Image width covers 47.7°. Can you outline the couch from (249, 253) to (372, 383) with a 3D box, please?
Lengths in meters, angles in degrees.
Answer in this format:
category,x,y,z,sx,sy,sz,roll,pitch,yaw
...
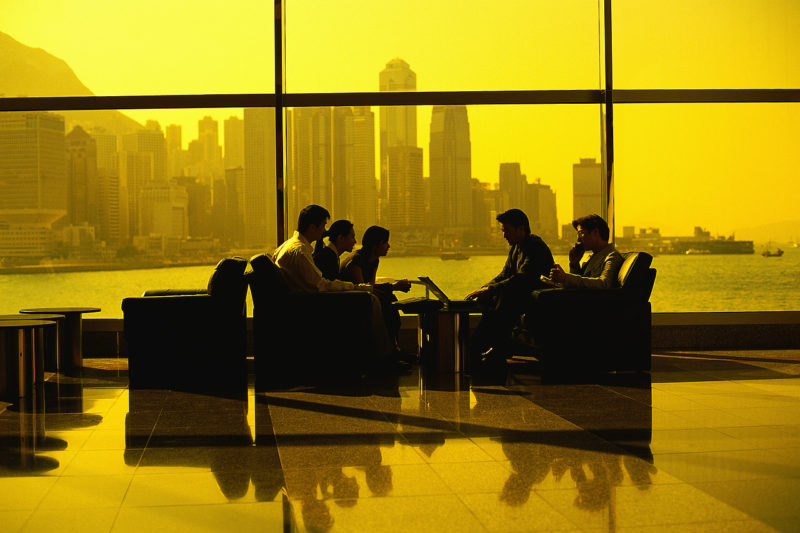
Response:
category,x,y,z,sx,sy,sz,roll,pitch,yaw
couch,-0.912,0.575,9.611,1.311,1.275,1.148,-1,1,-9

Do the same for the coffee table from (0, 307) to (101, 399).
category,x,y,z,sx,sy,sz,roll,pitch,yaw
coffee table,-3.777,0.885,9.929,0.742,0.772,0.815,1,0,16

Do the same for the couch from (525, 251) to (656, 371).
category,x,y,z,sx,sy,sz,roll,pitch,yaw
couch,1.969,0.493,9.776,1.276,1.230,1.171,0,-4,2

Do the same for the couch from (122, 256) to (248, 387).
category,x,y,z,sx,sy,sz,roll,pitch,yaw
couch,-2.078,0.445,9.615,1.651,1.435,1.631,-5,9,-14

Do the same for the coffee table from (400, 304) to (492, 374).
category,x,y,z,sx,sy,sz,roll,pitch,yaw
coffee table,0.404,0.672,9.887,1.024,0.828,0.821,7,6,-5

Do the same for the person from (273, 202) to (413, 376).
category,x,y,z,sx,sy,sz,roll,pitch,yaw
person,-0.662,0.202,9.456,1.300,1.680,0.711,-4,10,-13
